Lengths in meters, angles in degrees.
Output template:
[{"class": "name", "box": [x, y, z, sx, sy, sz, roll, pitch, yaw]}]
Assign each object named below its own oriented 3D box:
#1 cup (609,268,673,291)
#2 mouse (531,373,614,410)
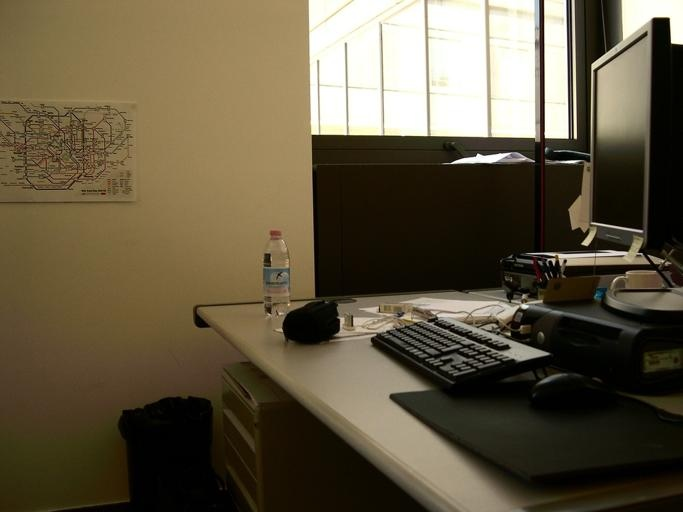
[{"class": "cup", "box": [0.833, 0.064, 1.477, 0.144, 0.073, 0.093, -5, 2, 4]}, {"class": "mouse", "box": [0.407, 0.242, 0.942, 0.116, 0.045, 0.067, -9, 6, -7]}]
